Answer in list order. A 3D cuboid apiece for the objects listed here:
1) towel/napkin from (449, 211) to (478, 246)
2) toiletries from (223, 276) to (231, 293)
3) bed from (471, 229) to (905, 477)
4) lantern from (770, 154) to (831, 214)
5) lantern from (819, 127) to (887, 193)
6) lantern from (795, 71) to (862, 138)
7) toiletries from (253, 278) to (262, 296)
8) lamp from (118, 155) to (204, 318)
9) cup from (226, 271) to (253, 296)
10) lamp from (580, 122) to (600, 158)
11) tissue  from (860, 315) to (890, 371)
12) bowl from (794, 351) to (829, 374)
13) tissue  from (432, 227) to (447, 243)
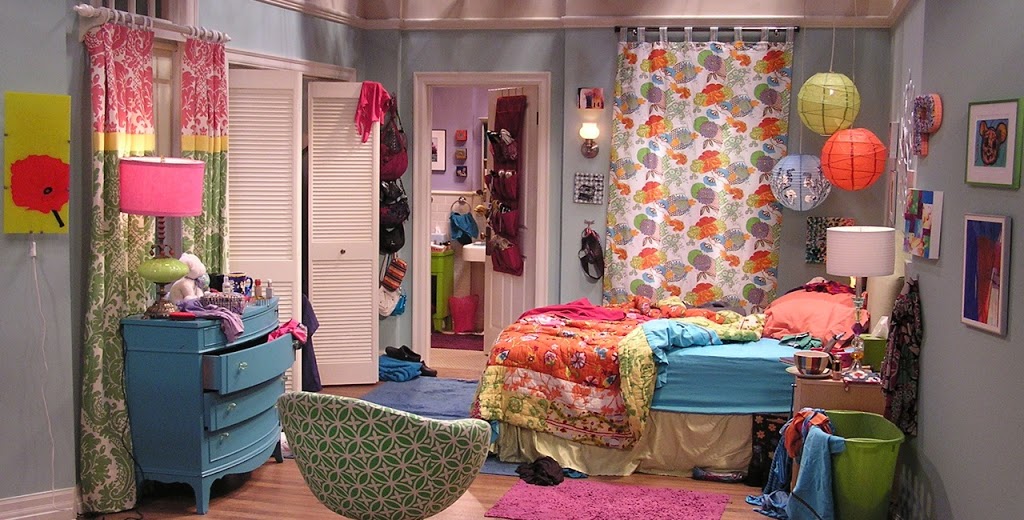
[{"bbox_3d":[-0.751,-0.502,10.132,0.187,0.471,0.542,-8,-30,18],"label":"towel/napkin"},{"bbox_3d":[-2.495,0.199,6.285,0.050,0.131,0.125,-2,4,-38],"label":"toiletries"},{"bbox_3d":[1.622,0.826,7.162,3.303,1.688,2.282,2,2,11],"label":"bed"},{"bbox_3d":[2.992,-0.824,7.643,0.633,0.662,0.627,7,19,43],"label":"lantern"},{"bbox_3d":[3.435,-1.014,7.218,0.624,0.637,0.596,-11,16,-32],"label":"lantern"},{"bbox_3d":[3.217,-1.596,7.295,0.634,0.607,0.591,-5,10,-14],"label":"lantern"},{"bbox_3d":[-2.260,0.251,6.358,0.059,0.156,0.106,-1,4,-32],"label":"toiletries"},{"bbox_3d":[-2.834,-0.185,5.879,0.593,1.283,0.458,2,4,15],"label":"lamp"},{"bbox_3d":[-2.385,0.222,6.387,0.250,0.216,0.150,1,1,6],"label":"cup"},{"bbox_3d":[0.876,-1.355,8.205,0.228,0.408,0.090,1,4,4],"label":"lamp"},{"bbox_3d":[3.215,0.723,6.374,0.307,0.413,0.315,7,10,44],"label":"tissue "},{"bbox_3d":[2.458,0.837,5.945,0.208,0.114,0.197,-1,6,0],"label":"bowl"},{"bbox_3d":[-1.043,-0.349,10.167,0.238,0.297,0.227,-1,2,7],"label":"tissue "}]
